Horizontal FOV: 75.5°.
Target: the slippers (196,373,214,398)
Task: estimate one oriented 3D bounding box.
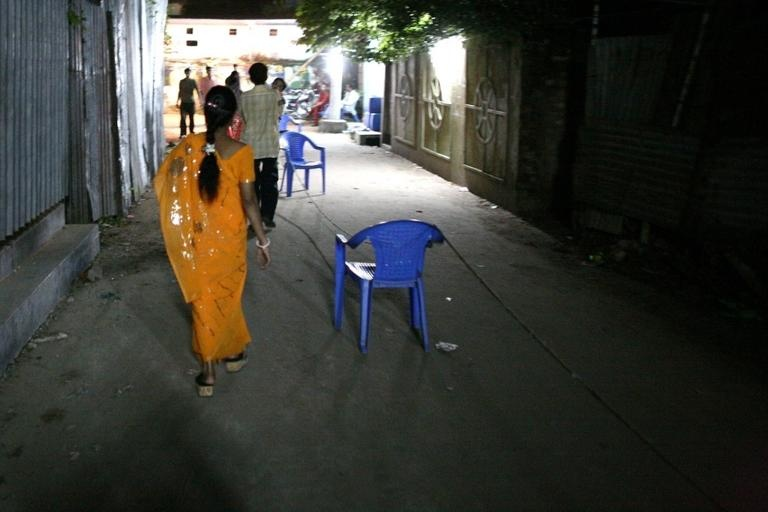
[{"bbox_3d":[-1.416,1.015,3.914,0.128,0.173,0.103,1,-3,-1],"label":"slippers"}]

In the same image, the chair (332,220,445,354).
[{"bbox_3d":[0.046,0.218,5.009,1.177,1.254,1.127,-7,14,-41],"label":"chair"}]

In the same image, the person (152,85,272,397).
[{"bbox_3d":[-1.295,-0.105,3.822,0.744,2.255,0.748,-8,24,-24],"label":"person"}]
